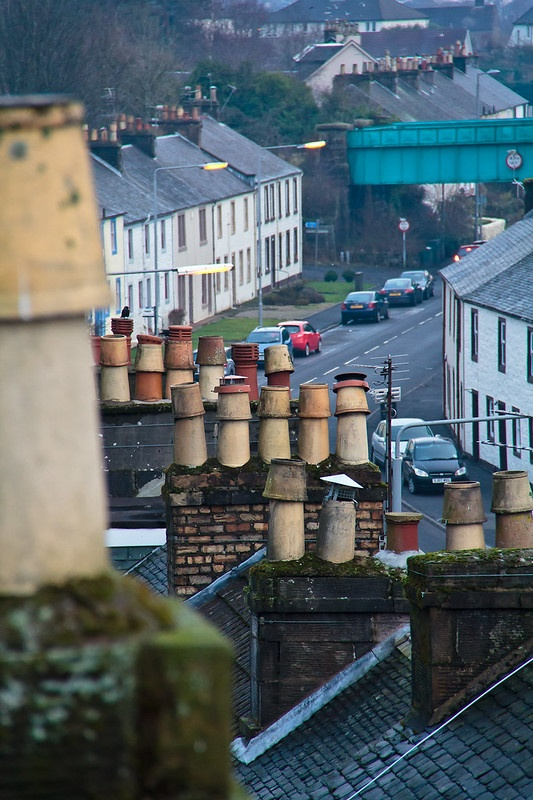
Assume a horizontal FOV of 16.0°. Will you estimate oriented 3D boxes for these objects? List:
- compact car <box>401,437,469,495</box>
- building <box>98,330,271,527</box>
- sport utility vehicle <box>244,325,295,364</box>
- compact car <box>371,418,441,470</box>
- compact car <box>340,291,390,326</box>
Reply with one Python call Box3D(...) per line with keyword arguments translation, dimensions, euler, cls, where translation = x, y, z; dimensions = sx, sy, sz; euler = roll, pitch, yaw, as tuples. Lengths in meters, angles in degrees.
Box3D(translation=(3.474, 1.296, 38.909), dimensions=(1.278, 1.242, 2.354), euler=(-3, -2, -4), cls="compact car")
Box3D(translation=(-0.623, 0.212, 13.668), dimensions=(1.404, 1.651, 0.861), euler=(0, 1, 5), cls="building")
Box3D(translation=(0.029, -1.717, 56.329), dimensions=(1.065, 1.078, 2.025), euler=(-1, 2, 10), cls="sport utility vehicle")
Box3D(translation=(2.892, 1.072, 40.956), dimensions=(1.067, 1.141, 2.028), euler=(0, 0, -7), cls="compact car")
Box3D(translation=(3.712, -3.398, 72.056), dimensions=(1.387, 1.122, 2.816), euler=(-2, 9, 16), cls="compact car")
